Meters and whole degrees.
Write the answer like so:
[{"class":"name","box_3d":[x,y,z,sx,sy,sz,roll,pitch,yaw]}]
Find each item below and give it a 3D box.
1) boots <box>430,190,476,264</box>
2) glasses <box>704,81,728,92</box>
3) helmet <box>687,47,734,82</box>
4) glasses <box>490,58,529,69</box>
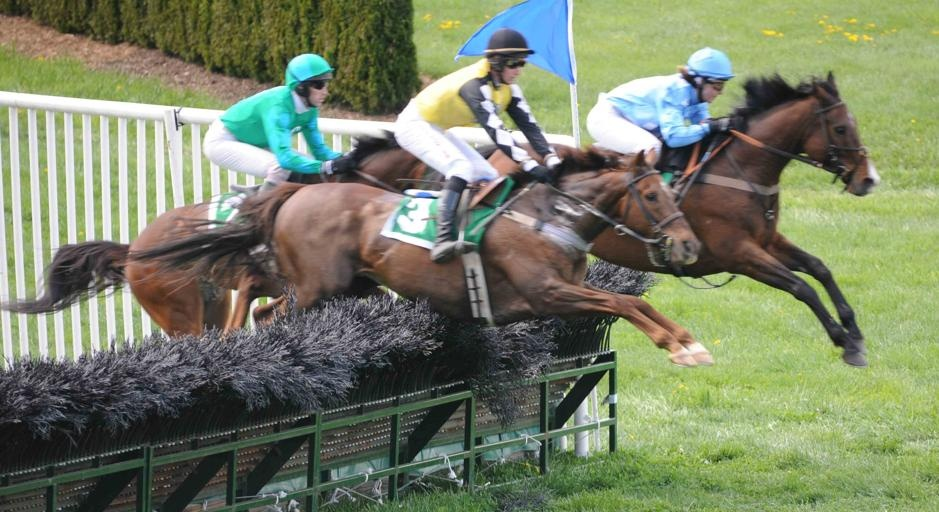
[{"class":"boots","box_3d":[-0.200,-0.335,19.615,0.442,0.776,0.453,1,20,0]},{"class":"glasses","box_3d":[2.922,-2.022,20.757,0.238,0.099,0.162,25,23,20]},{"class":"helmet","box_3d":[2.886,-2.268,20.693,0.646,0.252,0.372,3,14,13]},{"class":"glasses","box_3d":[0.445,-2.164,19.696,0.263,0.064,0.173,-8,-3,23]}]
